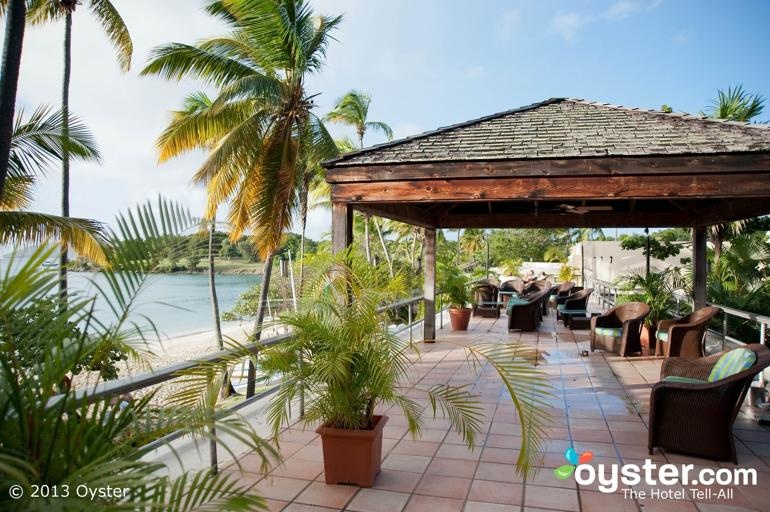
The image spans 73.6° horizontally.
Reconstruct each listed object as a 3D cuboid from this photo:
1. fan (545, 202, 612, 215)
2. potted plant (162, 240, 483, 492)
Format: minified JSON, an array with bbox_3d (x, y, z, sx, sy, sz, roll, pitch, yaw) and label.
[{"bbox_3d":[3.851,-0.938,10.117,1.127,0.191,1.703,2,4,22],"label":"fan"},{"bbox_3d":[-0.296,0.957,5.372,2.011,1.840,2.092,1,-3,3],"label":"potted plant"}]
